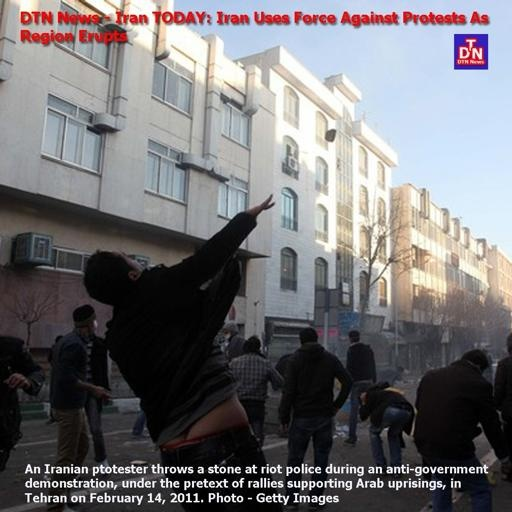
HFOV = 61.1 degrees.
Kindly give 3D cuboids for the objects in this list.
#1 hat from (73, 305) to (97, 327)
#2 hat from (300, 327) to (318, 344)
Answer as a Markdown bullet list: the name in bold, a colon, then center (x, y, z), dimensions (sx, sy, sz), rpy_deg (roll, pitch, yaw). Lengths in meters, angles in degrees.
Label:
- **hat**: center (-2.107, 0.716, 5.310), dimensions (0.198, 0.227, 0.270), rpy_deg (-25, -3, -37)
- **hat**: center (0.640, 0.979, 5.501), dimensions (0.217, 0.242, 0.182), rpy_deg (-3, -3, -9)
